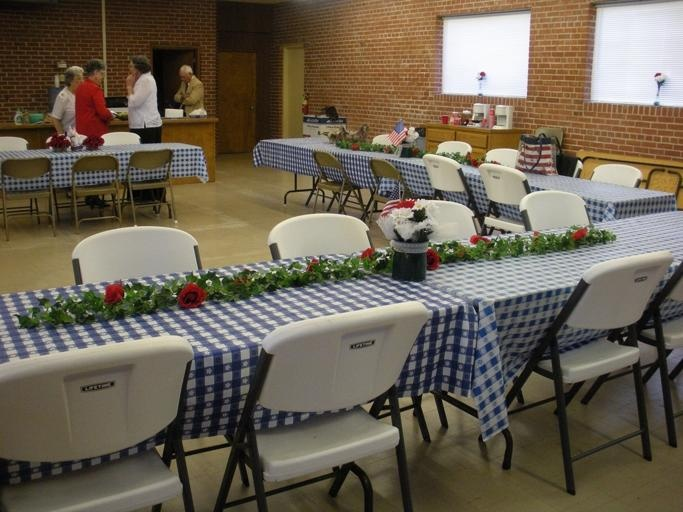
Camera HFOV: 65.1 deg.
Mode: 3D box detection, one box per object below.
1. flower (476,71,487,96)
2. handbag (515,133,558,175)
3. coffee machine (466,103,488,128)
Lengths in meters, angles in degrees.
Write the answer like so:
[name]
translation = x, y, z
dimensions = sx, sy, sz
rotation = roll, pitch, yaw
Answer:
[flower]
translation = 2.468, -3.065, 9.497
dimensions = 0.094, 0.398, 0.236
rotation = -10, 17, -31
[handbag]
translation = 2.000, -1.059, 5.496
dimensions = 0.202, 0.424, 0.433
rotation = -18, 24, -28
[coffee machine]
translation = 2.338, -2.376, 9.041
dimensions = 0.381, 0.489, 0.344
rotation = -9, 17, -35
